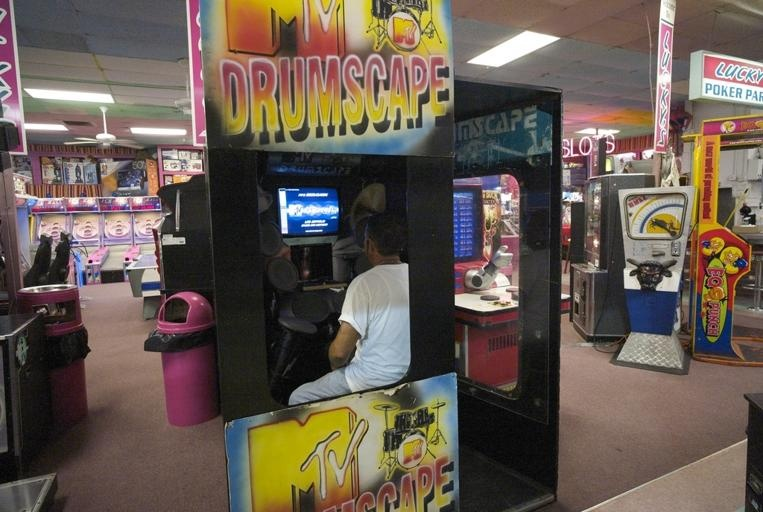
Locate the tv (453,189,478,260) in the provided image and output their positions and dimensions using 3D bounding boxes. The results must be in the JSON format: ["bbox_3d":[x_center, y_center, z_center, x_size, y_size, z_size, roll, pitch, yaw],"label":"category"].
[{"bbox_3d":[0.780,-0.281,5.027,0.288,0.669,0.072,-6,7,-24],"label":"tv"}]

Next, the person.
[{"bbox_3d":[-0.170,0.363,4.004,0.759,1.294,0.437,-3,7,3],"label":"person"}]

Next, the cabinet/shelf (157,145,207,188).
[{"bbox_3d":[-5.128,-2.307,14.360,1.153,1.100,0.430,2,15,1],"label":"cabinet/shelf"}]

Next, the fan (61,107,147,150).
[{"bbox_3d":[-5.414,-2.518,10.844,1.042,0.891,1.007,11,10,17],"label":"fan"}]
